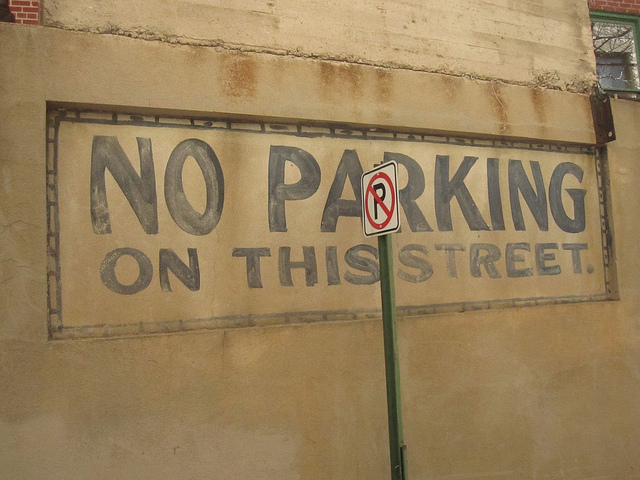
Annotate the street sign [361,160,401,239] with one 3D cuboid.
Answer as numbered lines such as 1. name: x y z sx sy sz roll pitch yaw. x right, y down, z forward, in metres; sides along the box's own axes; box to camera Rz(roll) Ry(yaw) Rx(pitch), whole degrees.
1. street sign: 0.658 -0.434 11.737 0.135 0.766 0.552 3 -8 -42
